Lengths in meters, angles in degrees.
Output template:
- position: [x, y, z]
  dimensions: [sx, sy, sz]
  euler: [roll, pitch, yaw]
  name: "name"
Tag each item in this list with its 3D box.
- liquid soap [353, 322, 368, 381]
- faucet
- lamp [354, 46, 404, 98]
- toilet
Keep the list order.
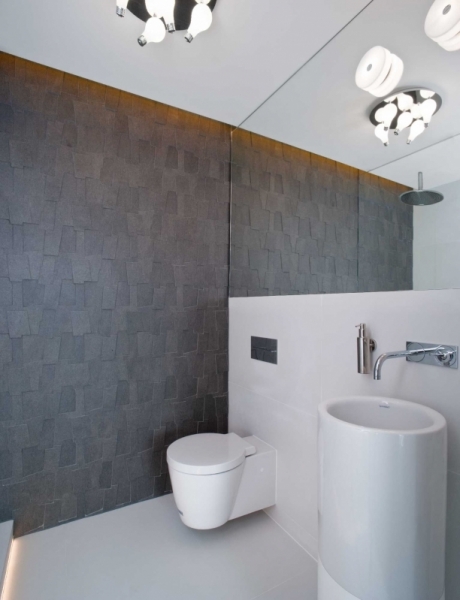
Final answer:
- position: [0.497, 0.189, 1.786]
  dimensions: [0.047, 0.209, 0.138]
  euler: [2, 6, 12]
  name: "liquid soap"
- position: [0.603, 0.172, 1.531]
  dimensions: [0.272, 0.118, 0.109]
  euler: [-8, -1, -16]
  name: "faucet"
- position: [0.559, -0.859, 1.776]
  dimensions: [0.100, 0.177, 0.164]
  euler: [4, 27, -27]
  name: "lamp"
- position: [-0.046, 0.768, 2.249]
  dimensions: [0.473, 0.369, 0.344]
  euler: [-1, 3, -32]
  name: "toilet"
